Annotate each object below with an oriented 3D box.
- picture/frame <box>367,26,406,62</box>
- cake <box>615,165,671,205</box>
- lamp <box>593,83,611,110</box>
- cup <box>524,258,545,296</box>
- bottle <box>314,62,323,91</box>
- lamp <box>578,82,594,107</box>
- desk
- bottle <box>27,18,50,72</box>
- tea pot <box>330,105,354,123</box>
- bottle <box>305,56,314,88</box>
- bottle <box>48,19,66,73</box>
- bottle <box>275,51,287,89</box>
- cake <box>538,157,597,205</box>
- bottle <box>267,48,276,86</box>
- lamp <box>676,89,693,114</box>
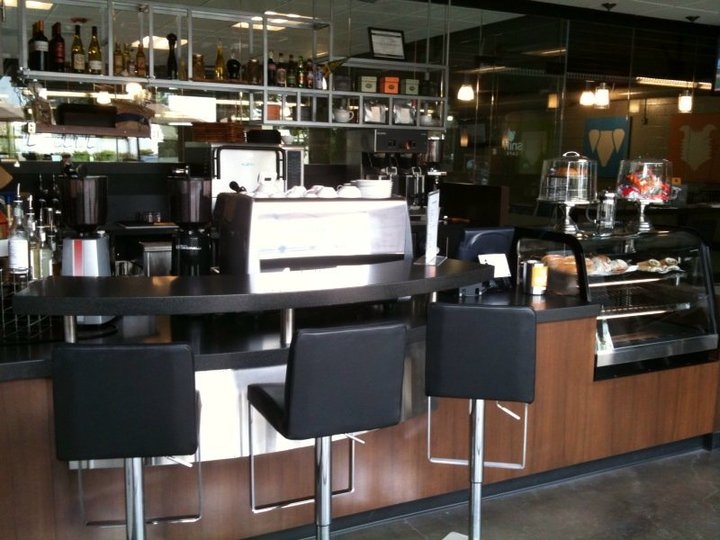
[{"bbox_3d":[0.254,-2.286,7.330,0.514,0.346,0.033,0,-6,-32],"label":"picture/frame"},{"bbox_3d":[1.864,-0.559,4.718,0.287,0.233,0.287,2,6,30],"label":"cake"},{"bbox_3d":[3.035,-2.164,8.966,0.187,0.287,0.300,0,8,17],"label":"lamp"},{"bbox_3d":[1.066,0.037,4.251,0.202,0.205,0.114,-6,9,-29],"label":"cup"},{"bbox_3d":[-0.406,-1.869,6.997,0.096,0.232,0.115,-8,10,-33],"label":"bottle"},{"bbox_3d":[2.789,-2.155,8.850,0.229,0.246,0.083,-5,8,-19],"label":"lamp"},{"bbox_3d":[-0.456,0.165,3.351,2.096,0.353,0.487,-4,8,-19],"label":"desk"},{"bbox_3d":[-2.645,-1.814,5.859,0.156,0.427,0.334,-6,9,-24],"label":"bottle"},{"bbox_3d":[-0.182,-1.542,7.147,0.147,0.187,0.201,2,9,30],"label":"tea pot"},{"bbox_3d":[-0.511,-1.922,7.054,0.107,0.316,0.293,-3,8,-4],"label":"bottle"},{"bbox_3d":[-2.592,-1.869,6.093,0.137,0.446,0.528,-6,8,-21],"label":"bottle"},{"bbox_3d":[-0.773,-1.931,6.976,0.106,0.342,0.418,-3,8,-5],"label":"bottle"},{"bbox_3d":[1.419,-0.574,4.888,0.397,0.348,0.362,-4,9,-35],"label":"cake"},{"bbox_3d":[-0.851,-1.901,6.909,0.099,0.290,0.302,-3,8,-6],"label":"bottle"},{"bbox_3d":[4.293,-2.186,9.401,0.358,0.301,0.143,-9,11,-44],"label":"lamp"}]
